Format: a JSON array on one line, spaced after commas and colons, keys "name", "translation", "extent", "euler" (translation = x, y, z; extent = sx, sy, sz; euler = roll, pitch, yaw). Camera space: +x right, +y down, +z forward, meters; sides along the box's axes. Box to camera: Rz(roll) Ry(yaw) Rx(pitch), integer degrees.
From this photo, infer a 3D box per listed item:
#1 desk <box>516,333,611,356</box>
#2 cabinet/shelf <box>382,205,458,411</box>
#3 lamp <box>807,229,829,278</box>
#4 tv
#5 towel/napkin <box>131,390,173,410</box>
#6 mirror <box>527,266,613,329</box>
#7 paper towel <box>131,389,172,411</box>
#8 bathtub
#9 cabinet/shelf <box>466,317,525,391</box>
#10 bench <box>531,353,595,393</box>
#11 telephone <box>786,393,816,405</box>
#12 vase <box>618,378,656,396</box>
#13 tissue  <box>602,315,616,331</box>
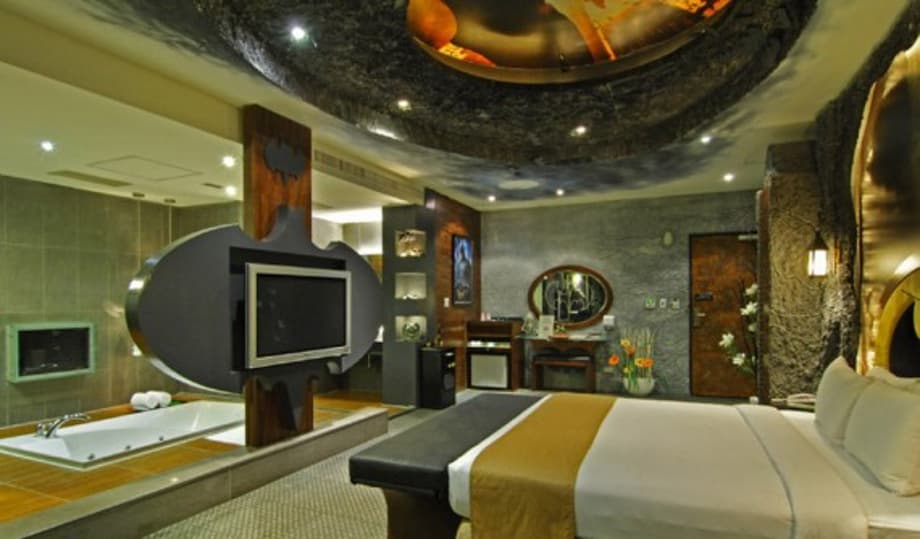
[{"name": "desk", "translation": [1.757, 1.246, 9.872], "extent": [1.378, 0.305, 0.639], "euler": [-2, -5, 16]}, {"name": "cabinet/shelf", "translation": [-0.740, 0.525, 8.880], "extent": [0.857, 3.000, 0.529], "euler": [-1, -4, -8]}, {"name": "lamp", "translation": [4.003, -0.186, 6.608], "extent": [0.217, 0.503, 0.200], "euler": [2, -5, -42]}, {"name": "tv", "translation": [-1.756, 0.484, 6.545], "extent": [0.152, 1.053, 1.501], "euler": [-2, -3, 32]}, {"name": "towel/napkin", "translation": [-4.089, 1.747, 7.904], "extent": [0.346, 0.145, 0.320], "euler": [-1, -5, 24]}, {"name": "mirror", "translation": [1.949, 0.473, 10.062], "extent": [1.252, 0.869, 0.070], "euler": [1, 0, 27]}, {"name": "paper towel", "translation": [-4.102, 1.738, 7.887], "extent": [0.346, 0.144, 0.320], "euler": [-1, -5, 24]}, {"name": "bathtub", "translation": [-3.781, 1.968, 7.035], "extent": [1.657, 0.512, 2.431], "euler": [-5, -6, 41]}, {"name": "cabinet/shelf", "translation": [0.639, 1.392, 10.160], "extent": [0.885, 1.044, 0.665], "euler": [-1, -1, 25]}, {"name": "bench", "translation": [1.754, 1.721, 9.846], "extent": [1.000, 0.527, 0.521], "euler": [-3, -5, 24]}, {"name": "telephone", "translation": [3.638, 1.376, 6.259], "extent": [0.197, 0.062, 0.188], "euler": [-2, -3, 20]}, {"name": "vase", "translation": [2.845, 1.893, 9.371], "extent": [0.371, 0.163, 0.346], "euler": [2, -18, -6]}, {"name": "tissue ", "translation": [2.475, 0.873, 9.775], "extent": [0.274, 0.236, 0.270], "euler": [-2, -2, 26]}]
